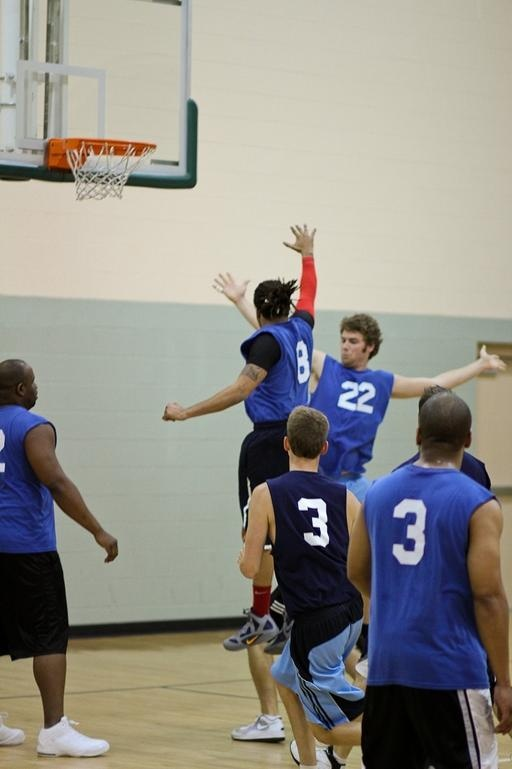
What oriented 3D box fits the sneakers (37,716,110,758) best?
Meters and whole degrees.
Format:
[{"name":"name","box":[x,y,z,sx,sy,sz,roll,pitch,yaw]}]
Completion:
[{"name":"sneakers","box":[-0.733,1.427,3.854,0.366,0.188,0.117,3,-5,-7]}]

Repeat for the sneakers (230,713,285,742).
[{"name":"sneakers","box":[0.027,1.476,4.105,0.277,0.111,0.092,0,-15,5]}]
